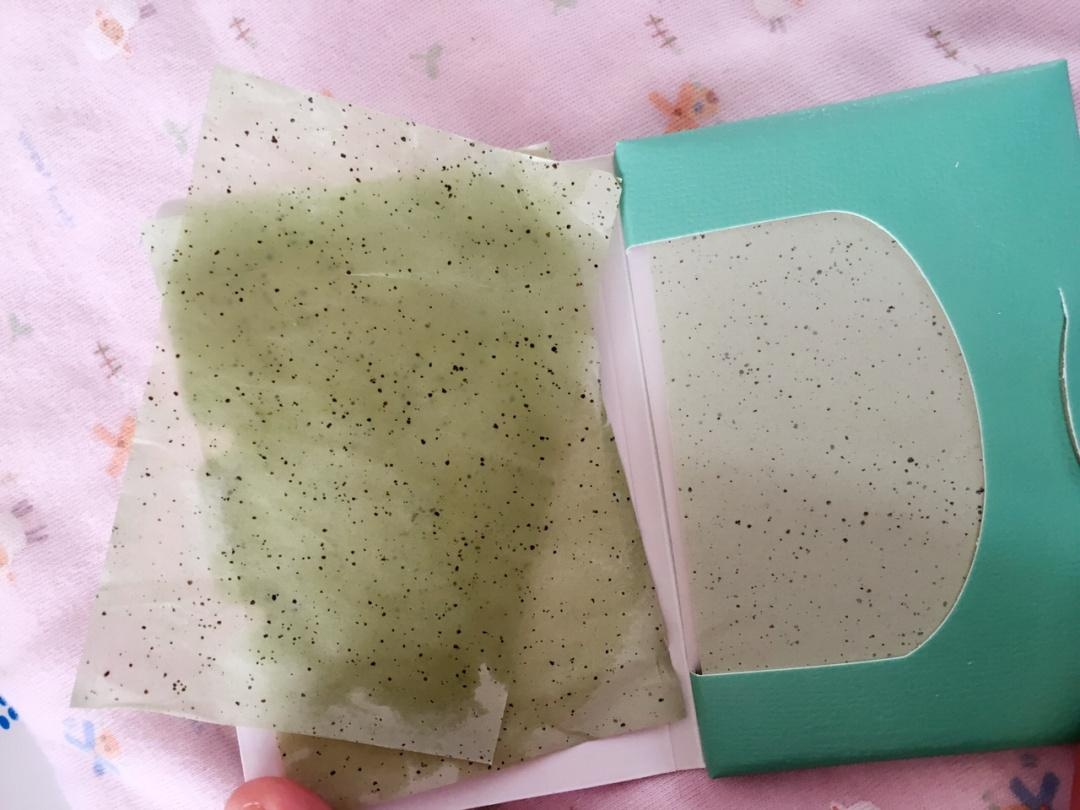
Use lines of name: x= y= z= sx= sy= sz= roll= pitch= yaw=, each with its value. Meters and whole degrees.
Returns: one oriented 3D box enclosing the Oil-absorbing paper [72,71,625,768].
Oil-absorbing paper: x=-0.154 y=0.013 z=0.868 sx=0.421 sy=0.538 sz=0.177 roll=1 pitch=17 yaw=3
